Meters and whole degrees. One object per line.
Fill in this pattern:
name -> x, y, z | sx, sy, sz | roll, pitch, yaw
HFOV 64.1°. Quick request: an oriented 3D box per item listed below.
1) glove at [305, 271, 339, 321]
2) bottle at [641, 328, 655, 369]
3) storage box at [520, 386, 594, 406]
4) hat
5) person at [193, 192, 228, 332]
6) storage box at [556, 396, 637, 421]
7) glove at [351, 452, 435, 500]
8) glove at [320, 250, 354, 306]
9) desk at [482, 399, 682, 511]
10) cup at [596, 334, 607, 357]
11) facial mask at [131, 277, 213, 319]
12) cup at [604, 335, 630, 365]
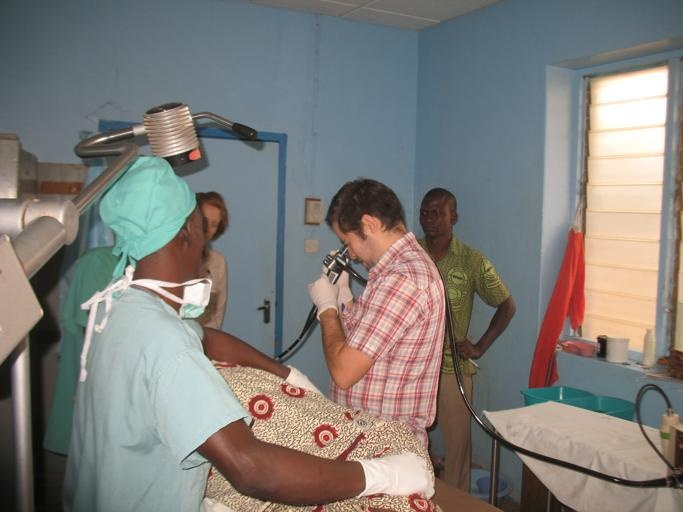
glove -> -0.083, 0.183, 2.429 | 0.060, 0.137, 0.182 | -12, 45, 17
bottle -> 1.795, 0.534, 3.180 | 0.063, 0.216, 0.116 | 5, 5, 35
storage box -> 1.171, 0.768, 3.008 | 0.238, 0.086, 0.183 | -2, 1, -1
hat -> -0.536, -0.084, 1.470 | 0.222, 0.168, 0.336 | -9, 29, 39
person -> -0.859, 0.070, 3.519 | 0.214, 0.193, 0.771 | 19, -35, 6
storage box -> 1.372, 0.774, 2.828 | 0.189, 0.092, 0.257 | -2, 3, -41
glove -> 0.152, 0.586, 1.502 | 0.086, 0.093, 0.334 | 5, -11, 32
glove -> -0.007, 0.151, 2.586 | 0.115, 0.368, 0.097 | 0, 43, -12
desk -> 1.031, 0.858, 2.262 | 0.467, 0.278, 0.800 | 0, 5, -24
cup -> 1.583, 0.550, 3.371 | 0.096, 0.111, 0.096 | 0, 3, 0
facial mask -> -0.451, 0.109, 1.484 | 0.149, 0.066, 0.106 | 9, -2, -44
cup -> 1.633, 0.569, 3.243 | 0.114, 0.138, 0.150 | 0, -6, 0
